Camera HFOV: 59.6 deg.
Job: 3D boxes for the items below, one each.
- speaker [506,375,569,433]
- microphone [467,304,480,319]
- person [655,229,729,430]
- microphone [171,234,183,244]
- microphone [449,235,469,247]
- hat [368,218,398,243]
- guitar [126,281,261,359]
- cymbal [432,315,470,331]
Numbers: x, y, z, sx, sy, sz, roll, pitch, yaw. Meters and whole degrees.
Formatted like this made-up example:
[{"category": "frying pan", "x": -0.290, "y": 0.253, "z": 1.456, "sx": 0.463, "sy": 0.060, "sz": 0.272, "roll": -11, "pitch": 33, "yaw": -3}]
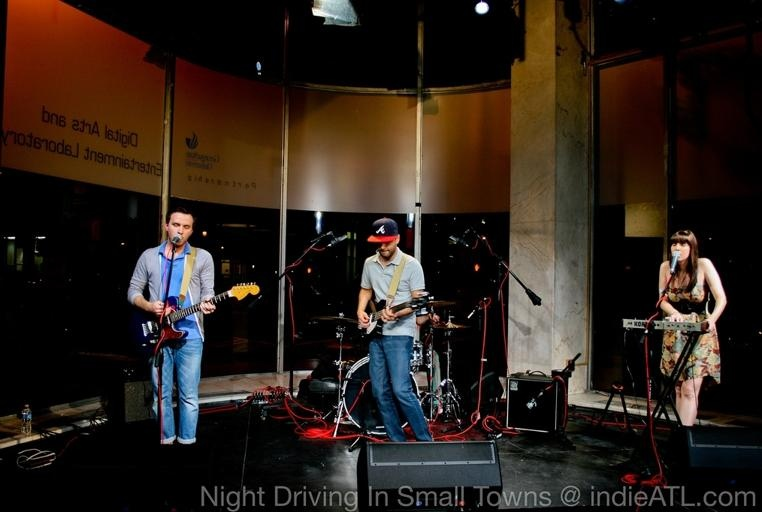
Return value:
[{"category": "speaker", "x": 1.817, "y": 1.739, "z": 8.011, "sx": 0.913, "sy": 0.995, "sz": 0.563, "roll": -1, "pitch": -8, "yaw": 15}, {"category": "microphone", "x": 1.123, "y": 0.674, "z": 7.982, "sx": 0.127, "sy": 0.071, "sz": 0.206, "roll": -20, "pitch": -1, "yaw": 10}, {"category": "person", "x": 3.239, "y": 0.830, "z": 7.050, "sx": 0.671, "sy": 2.129, "sz": 0.933, "roll": 7, "pitch": 12, "yaw": 31}, {"category": "microphone", "x": -2.099, "y": -0.163, "z": 6.847, "sx": 0.081, "sy": 0.113, "sz": 0.100, "roll": 5, "pitch": 10, "yaw": 4}, {"category": "microphone", "x": 0.945, "y": -0.183, "z": 8.130, "sx": 0.197, "sy": 0.056, "sz": 0.134, "roll": 19, "pitch": 16, "yaw": -13}, {"category": "hat", "x": 0.085, "y": -0.269, "z": 7.057, "sx": 0.217, "sy": 0.191, "sz": 0.317, "roll": 3, "pitch": 1, "yaw": 28}, {"category": "guitar", "x": -2.203, "y": 0.731, "z": 7.678, "sx": 1.075, "sy": 0.399, "sz": 0.158, "roll": -26, "pitch": -20, "yaw": -8}, {"category": "cymbal", "x": 0.819, "y": 0.787, "z": 7.808, "sx": 0.394, "sy": 0.175, "sz": 0.405, "roll": 4, "pitch": 10, "yaw": 18}]
